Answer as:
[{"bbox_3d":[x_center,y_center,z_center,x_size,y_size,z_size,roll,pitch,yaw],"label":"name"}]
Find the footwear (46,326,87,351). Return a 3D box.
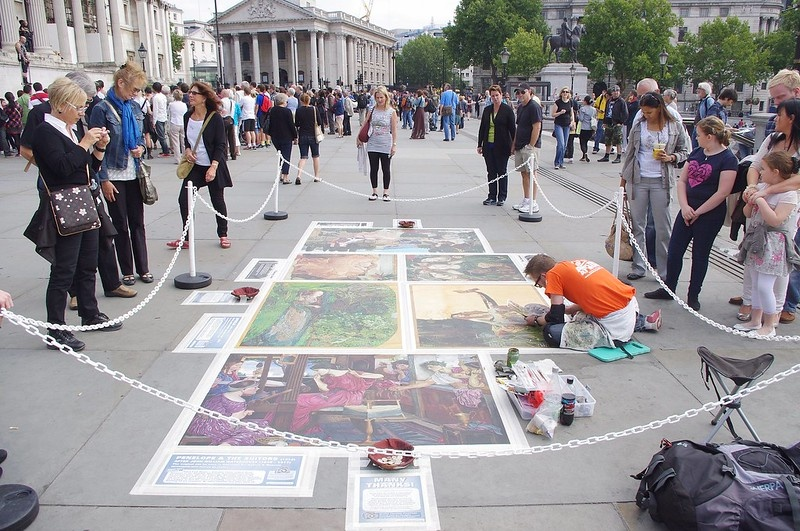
[{"bbox_3d":[-3.732,0.787,6.193,0.313,0.224,0.506,-12,21,-30],"label":"footwear"}]

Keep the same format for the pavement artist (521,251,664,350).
[{"bbox_3d":[2.121,0.400,6.336,1.230,1.123,0.985,0,-1,-39],"label":"pavement artist"}]

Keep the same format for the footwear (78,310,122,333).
[{"bbox_3d":[-3.563,0.658,6.575,0.569,0.214,0.196,0,14,-20],"label":"footwear"}]
